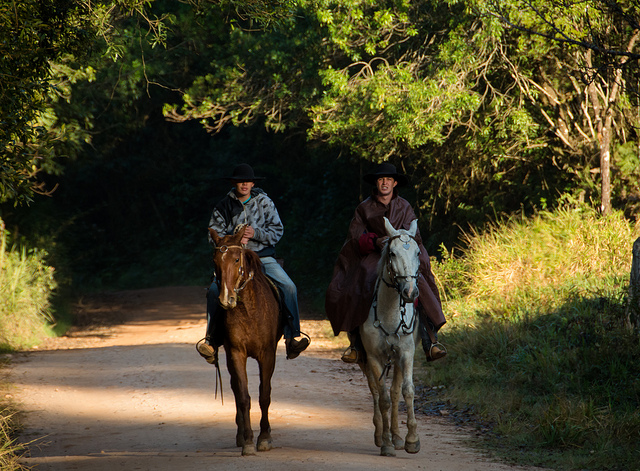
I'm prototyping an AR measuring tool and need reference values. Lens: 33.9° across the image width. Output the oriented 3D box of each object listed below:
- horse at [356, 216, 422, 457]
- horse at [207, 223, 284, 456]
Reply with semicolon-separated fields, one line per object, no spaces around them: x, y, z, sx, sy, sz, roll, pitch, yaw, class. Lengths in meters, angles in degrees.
1.539;2.033;21.271;1.029;4.790;1.589;-2;6;-20;horse
-1.387;2.017;21.198;1.612;4.512;1.188;-5;7;-43;horse
